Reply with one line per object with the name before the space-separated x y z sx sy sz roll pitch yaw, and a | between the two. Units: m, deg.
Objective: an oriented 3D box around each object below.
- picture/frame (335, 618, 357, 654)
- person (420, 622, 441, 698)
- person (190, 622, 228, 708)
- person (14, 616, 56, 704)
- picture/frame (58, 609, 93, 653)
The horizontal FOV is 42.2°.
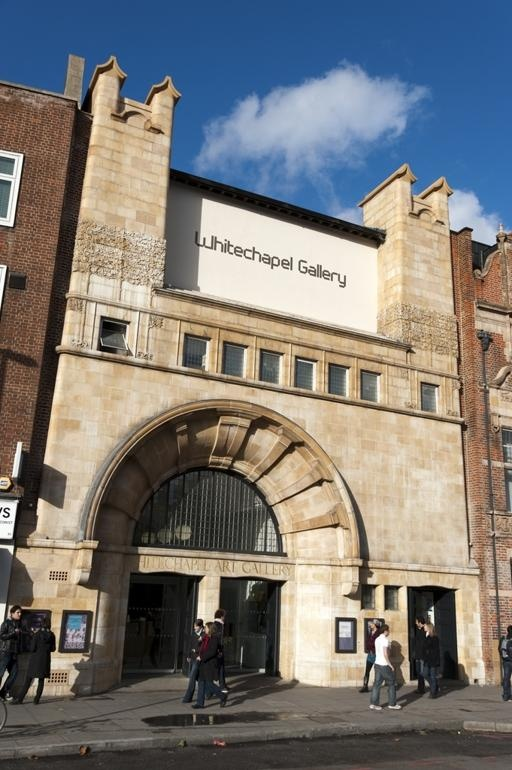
picture/frame | 2.329 6.610 17.329 0.742 0.997 0.104 13 -29 -22
person | 4.148 6.574 15.784 0.364 1.655 0.958 -3 -18 13
person | -0.825 5.145 12.135 0.558 1.466 0.619 2 -18 -3
person | -4.043 5.111 12.226 0.548 1.488 1.274 7 -19 -17
picture/frame | -3.803 5.172 13.841 0.753 1.051 0.106 15 -29 -33
